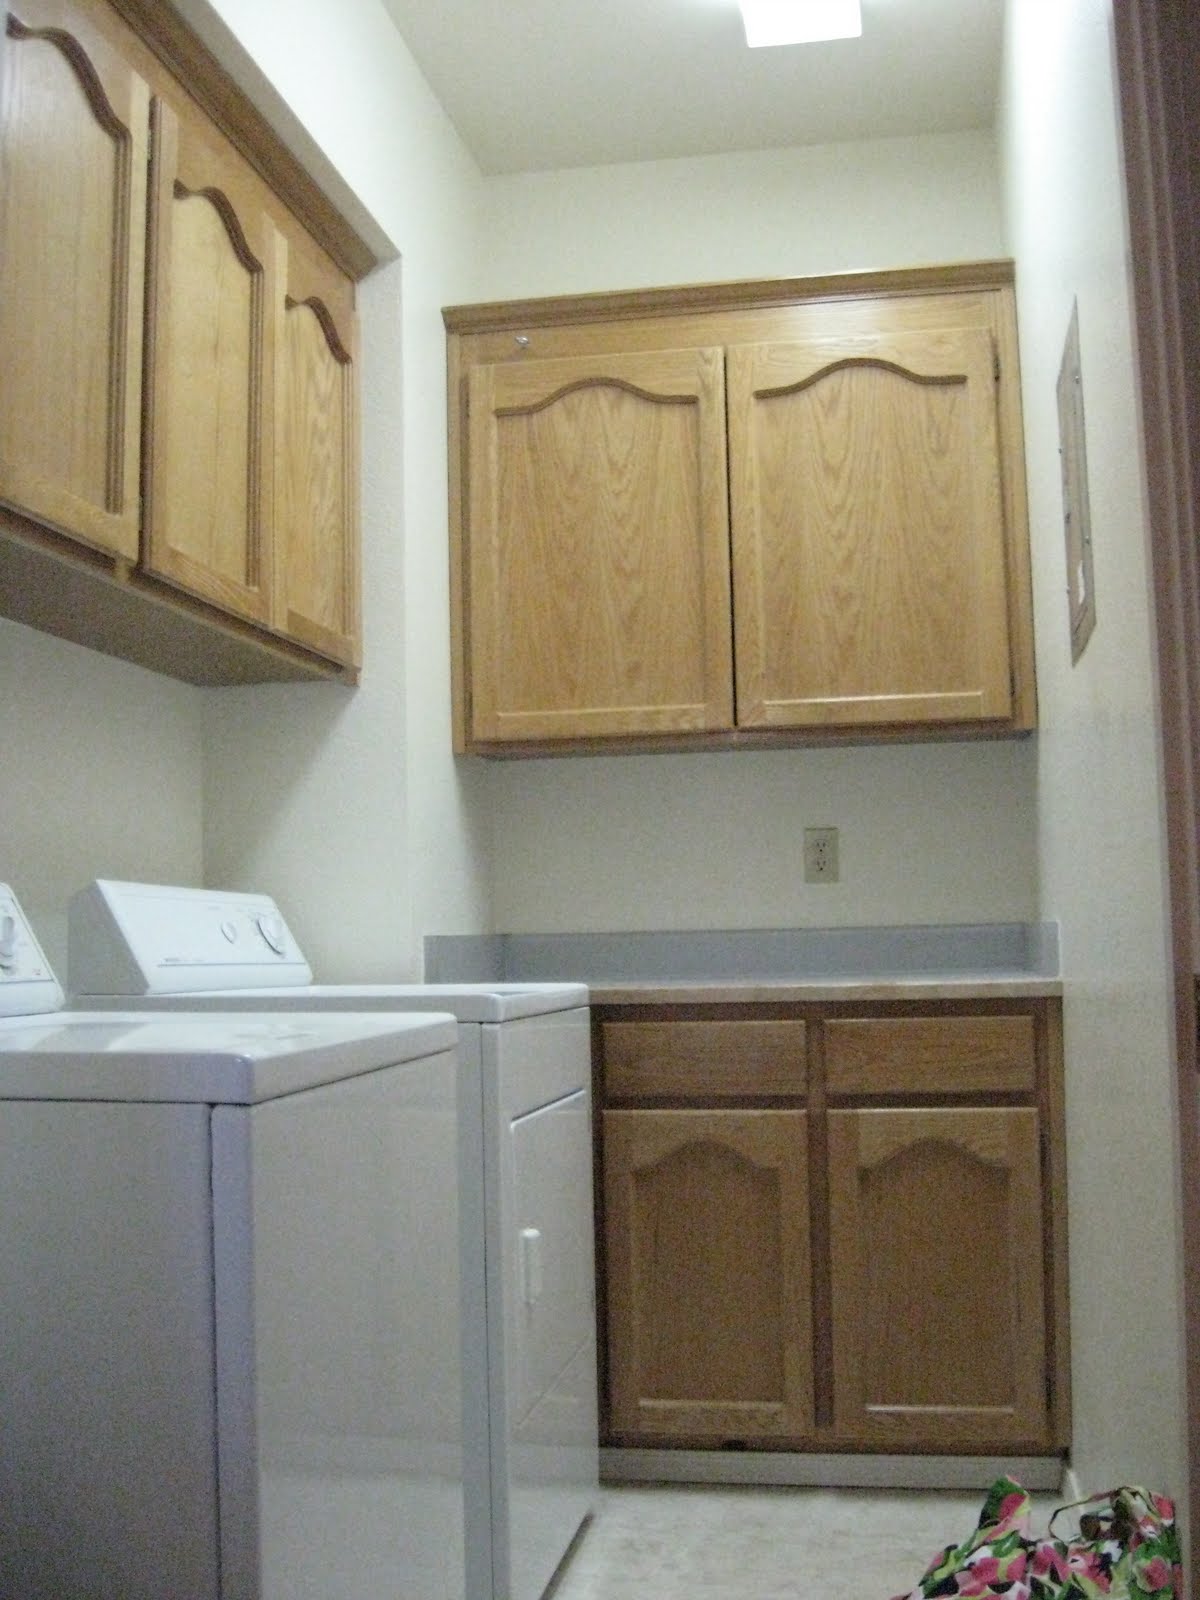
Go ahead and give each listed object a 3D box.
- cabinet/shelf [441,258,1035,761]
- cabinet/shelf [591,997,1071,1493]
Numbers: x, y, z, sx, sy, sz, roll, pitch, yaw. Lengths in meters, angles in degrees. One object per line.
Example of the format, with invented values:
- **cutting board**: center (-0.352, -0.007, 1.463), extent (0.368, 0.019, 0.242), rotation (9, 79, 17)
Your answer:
- **cabinet/shelf**: center (0.279, -0.541, 2.755), extent (0.843, 0.770, 0.310), rotation (-2, -11, 7)
- **cabinet/shelf**: center (0.415, 0.770, 2.405), extent (0.718, 0.748, 0.292), rotation (-2, -10, 8)
